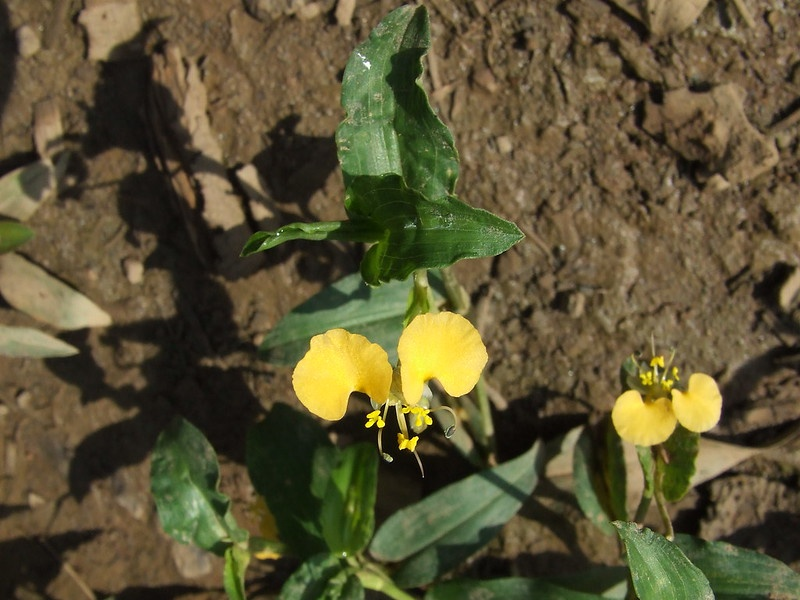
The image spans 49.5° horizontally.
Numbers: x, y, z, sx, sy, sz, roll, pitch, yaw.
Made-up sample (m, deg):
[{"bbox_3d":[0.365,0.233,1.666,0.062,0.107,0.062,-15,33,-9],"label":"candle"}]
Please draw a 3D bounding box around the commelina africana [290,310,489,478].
[{"bbox_3d":[-0.014,0.244,3.009,0.564,0.582,0.303,-15,-3,-3],"label":"commelina africana"}]

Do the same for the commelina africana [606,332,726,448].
[{"bbox_3d":[0.919,0.282,3.028,0.300,0.183,0.461,-8,28,18],"label":"commelina africana"}]
